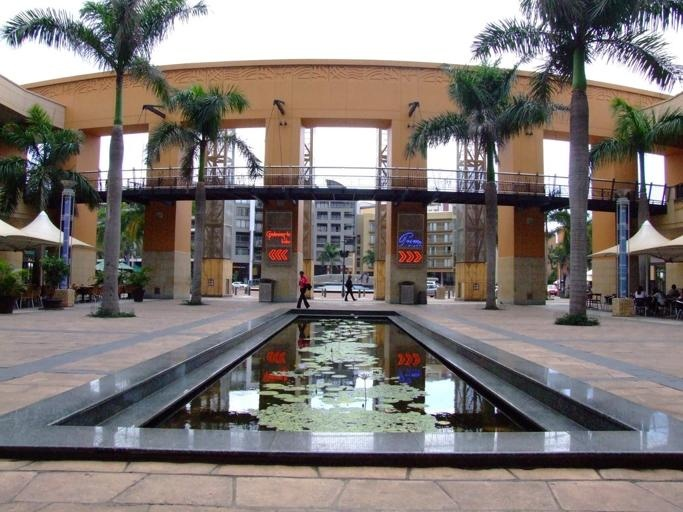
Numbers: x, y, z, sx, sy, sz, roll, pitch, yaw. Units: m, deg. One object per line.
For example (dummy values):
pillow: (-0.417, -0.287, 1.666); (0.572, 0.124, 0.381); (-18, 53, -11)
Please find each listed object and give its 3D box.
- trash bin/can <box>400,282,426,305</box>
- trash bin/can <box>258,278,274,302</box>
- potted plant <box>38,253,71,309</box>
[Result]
trash bin/can: (3.288, 1.789, 27.693); (0.897, 0.883, 0.368); (1, -3, -14)
trash bin/can: (-3.486, 1.591, 27.437); (0.654, 1.066, 0.540); (1, -2, -10)
potted plant: (-10.695, 0.977, 22.118); (0.925, 1.910, 2.313); (1, -2, -27)
